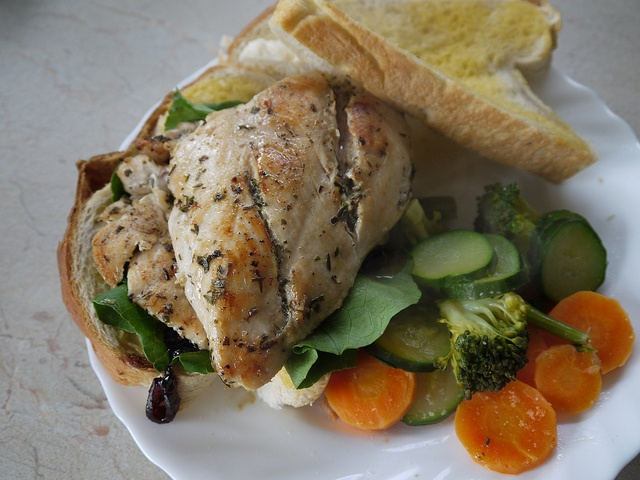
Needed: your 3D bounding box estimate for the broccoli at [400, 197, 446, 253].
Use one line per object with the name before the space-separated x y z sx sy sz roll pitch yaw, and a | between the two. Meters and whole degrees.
broccoli | 0.519 -0.066 3.539 0.260 0.111 0.199 26 86 -36
